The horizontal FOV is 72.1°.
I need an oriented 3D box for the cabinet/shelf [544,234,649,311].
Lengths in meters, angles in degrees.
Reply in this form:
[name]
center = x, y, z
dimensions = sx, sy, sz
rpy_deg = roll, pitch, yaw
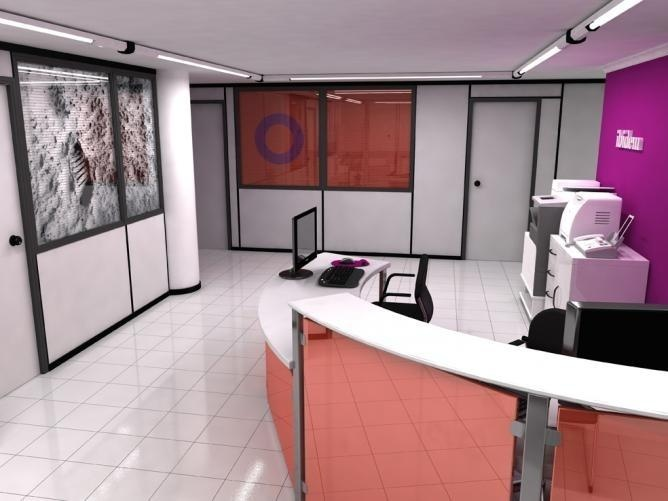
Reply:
[cabinet/shelf]
center = 2.683, 0.337, 4.773
dimensions = 0.689, 0.849, 0.910
rpy_deg = 2, 14, 11

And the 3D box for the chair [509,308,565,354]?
[chair]
center = 1.429, 0.536, 3.120
dimensions = 0.201, 0.336, 0.217
rpy_deg = 5, 15, 20
